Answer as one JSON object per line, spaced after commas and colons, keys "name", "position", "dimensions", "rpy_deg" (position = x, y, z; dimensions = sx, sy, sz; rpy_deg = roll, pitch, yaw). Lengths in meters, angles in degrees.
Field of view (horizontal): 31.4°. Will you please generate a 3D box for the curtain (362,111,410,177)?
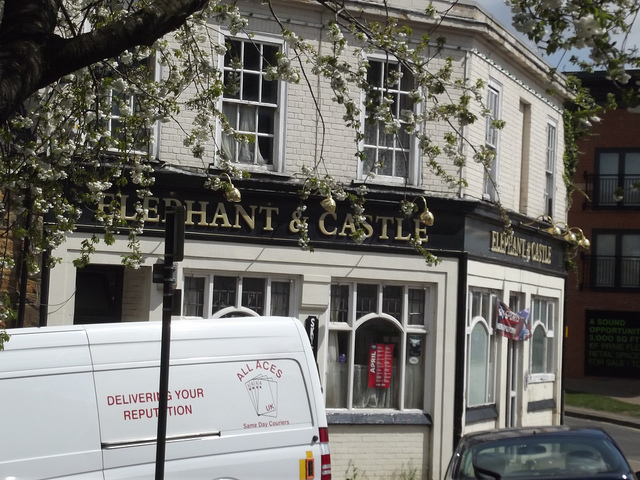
{"name": "curtain", "position": [1.180, -1.685, 20.348], "dimensions": [0.827, 1.229, 0.807], "rpy_deg": [0, -7, 4]}
